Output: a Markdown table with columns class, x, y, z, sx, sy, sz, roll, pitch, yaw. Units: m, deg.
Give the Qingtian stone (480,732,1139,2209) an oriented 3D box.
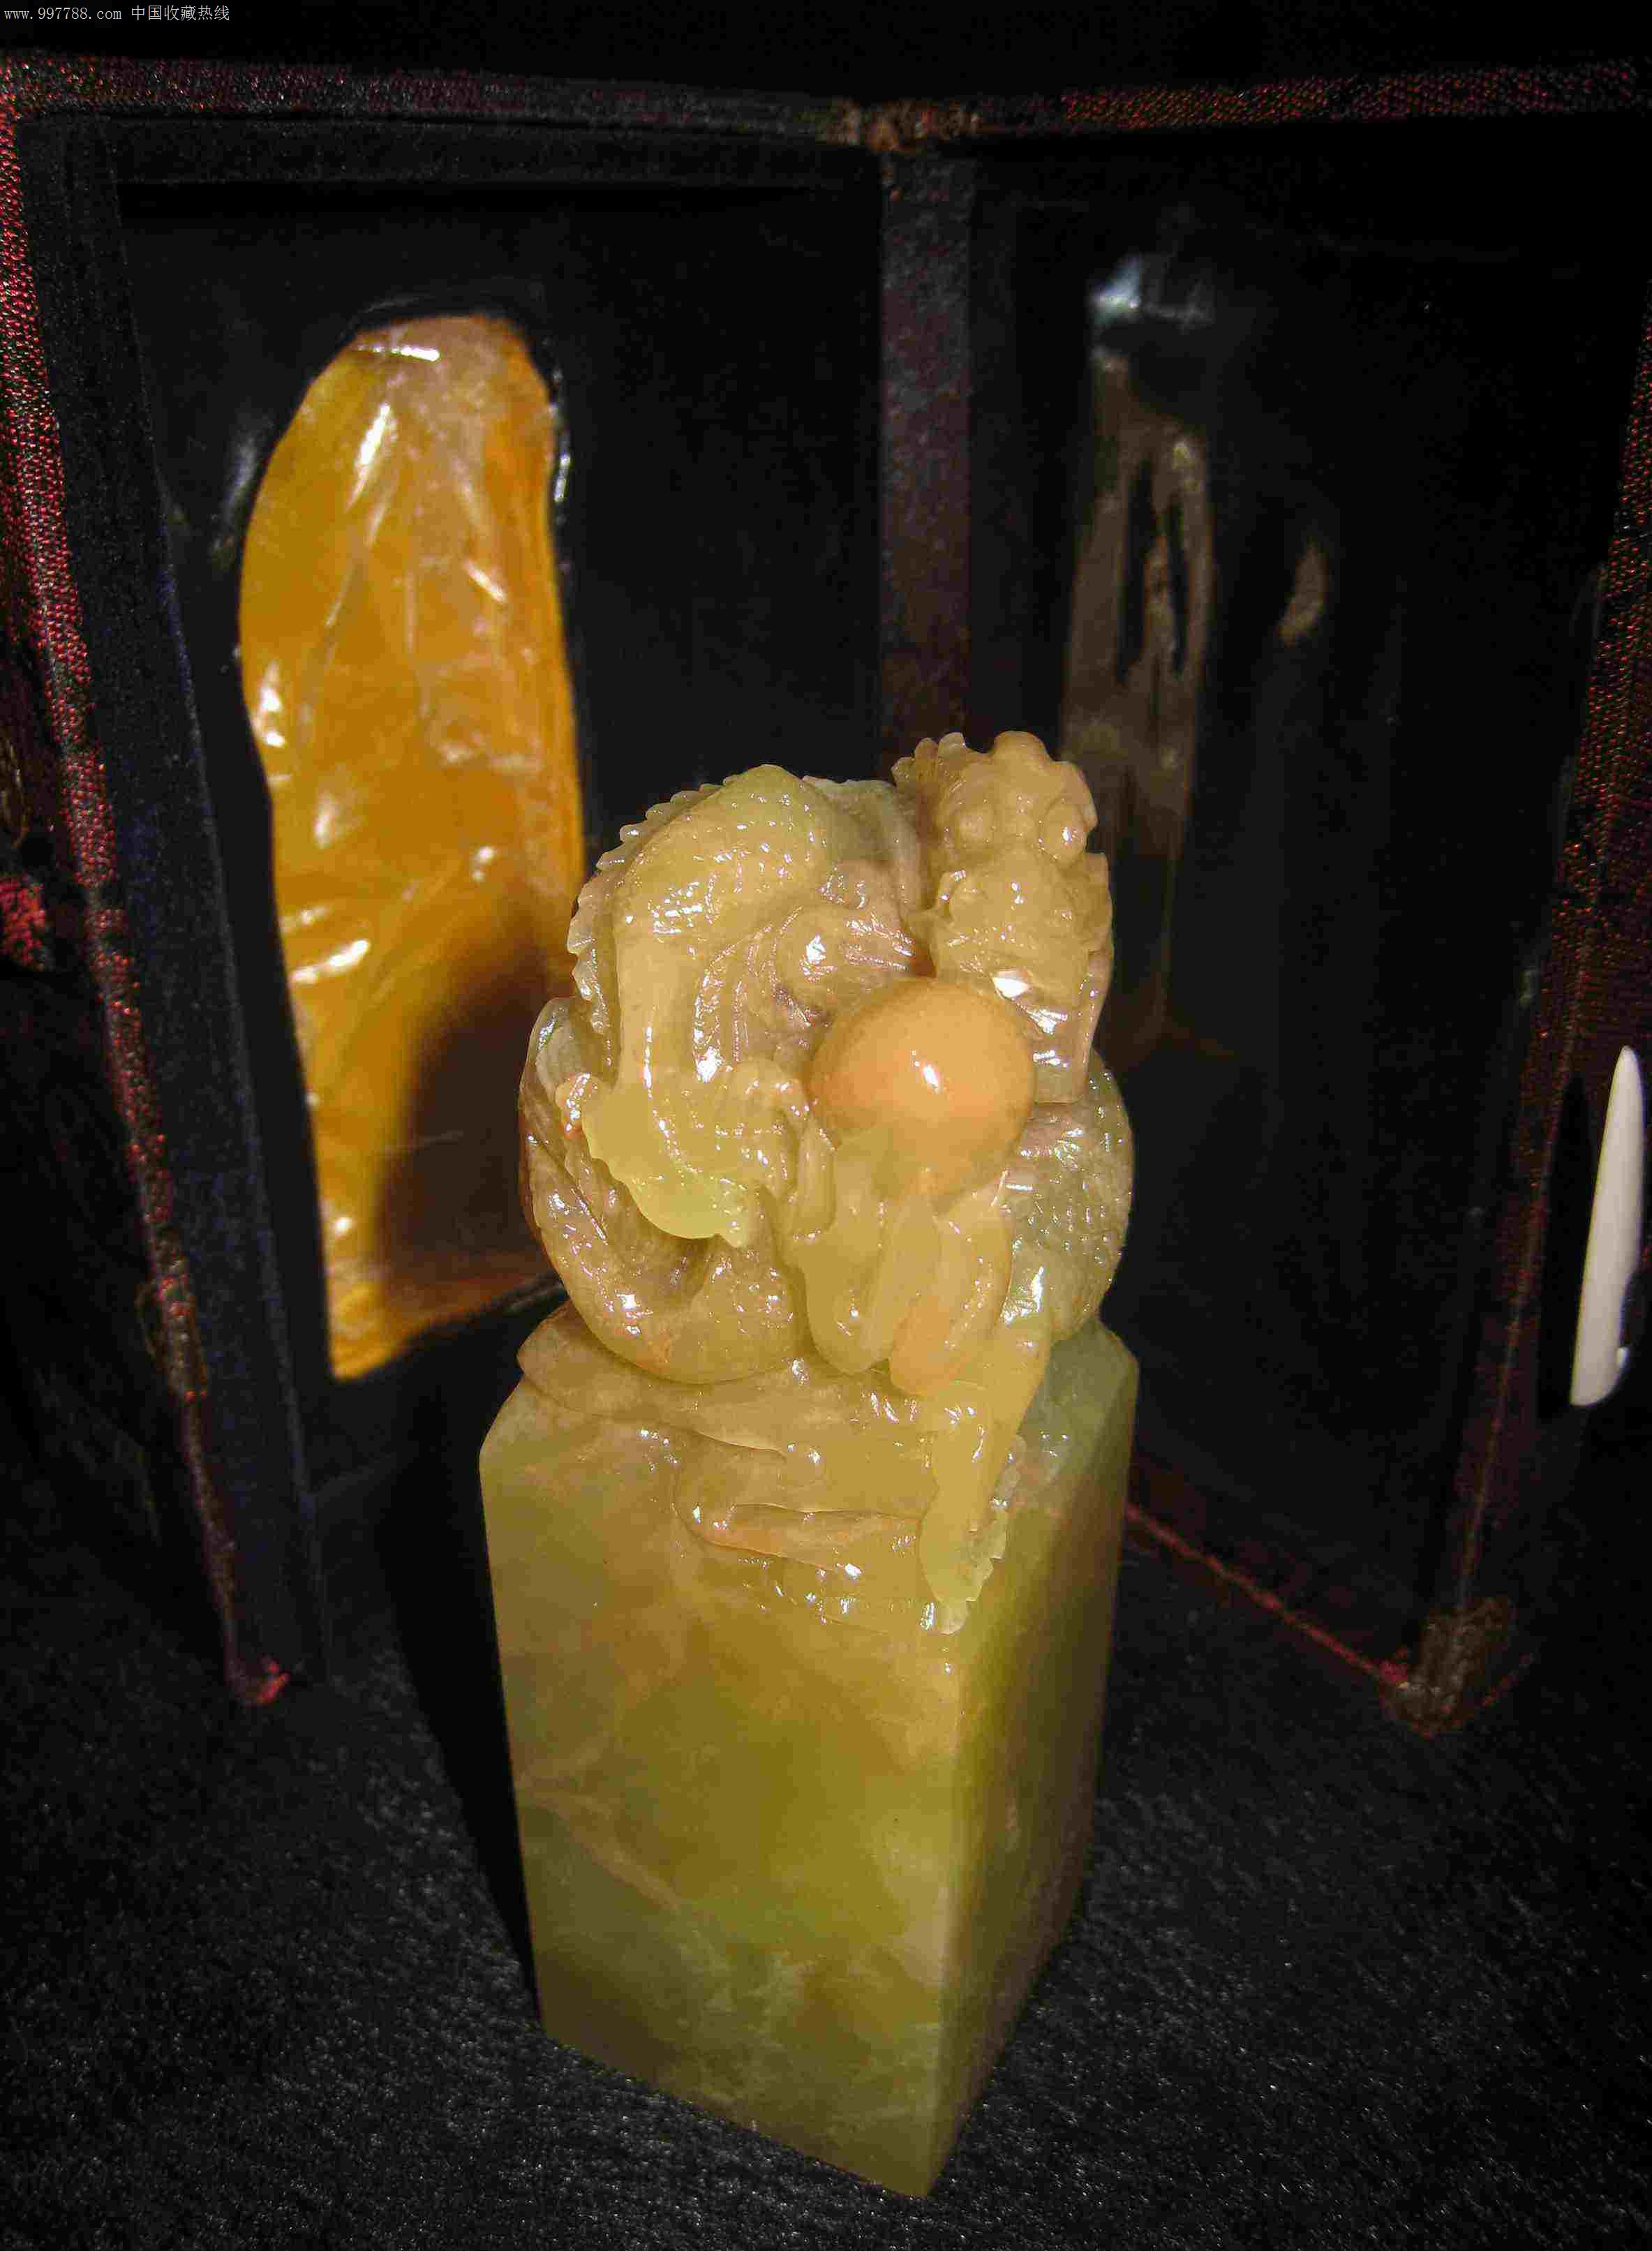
| class | x | y | z | sx | sy | sz | roll | pitch | yaw |
| --- | --- | --- | --- | --- | --- | --- | --- | --- | --- |
| Qingtian stone | 0.008 | 0.190 | 1.149 | 0.293 | 0.668 | 0.275 | 8 | 26 | 16 |
